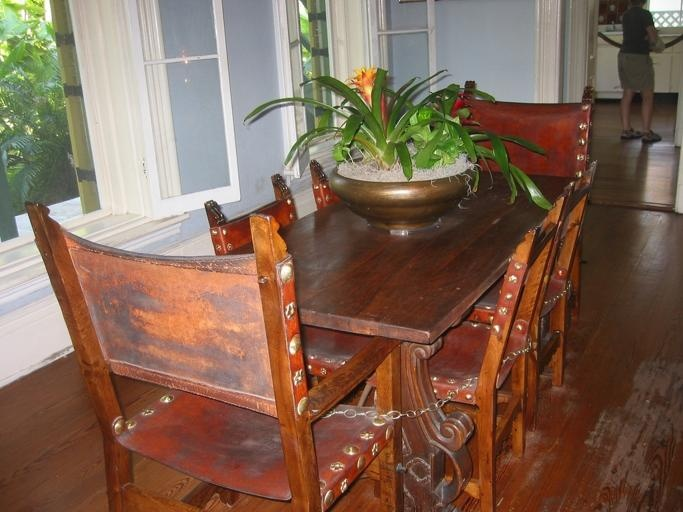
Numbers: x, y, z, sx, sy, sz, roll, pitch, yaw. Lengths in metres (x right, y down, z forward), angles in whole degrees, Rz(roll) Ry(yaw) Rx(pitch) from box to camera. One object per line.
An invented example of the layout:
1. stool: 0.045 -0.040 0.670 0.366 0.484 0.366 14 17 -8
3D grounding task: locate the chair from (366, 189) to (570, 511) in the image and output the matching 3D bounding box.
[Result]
1. chair: 0.406 0.164 2.176 0.881 1.487 0.848 8 20 28

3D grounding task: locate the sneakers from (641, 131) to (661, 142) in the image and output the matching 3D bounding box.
1. sneakers: 3.898 -1.509 6.437 0.327 0.149 0.121 -19 23 -42

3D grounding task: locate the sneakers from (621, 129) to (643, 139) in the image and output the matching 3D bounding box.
1. sneakers: 3.729 -1.569 6.592 0.267 0.125 0.121 0 14 16

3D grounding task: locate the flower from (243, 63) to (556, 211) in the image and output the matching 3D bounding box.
1. flower: 0.181 -0.553 2.430 1.114 0.460 1.166 6 10 29
